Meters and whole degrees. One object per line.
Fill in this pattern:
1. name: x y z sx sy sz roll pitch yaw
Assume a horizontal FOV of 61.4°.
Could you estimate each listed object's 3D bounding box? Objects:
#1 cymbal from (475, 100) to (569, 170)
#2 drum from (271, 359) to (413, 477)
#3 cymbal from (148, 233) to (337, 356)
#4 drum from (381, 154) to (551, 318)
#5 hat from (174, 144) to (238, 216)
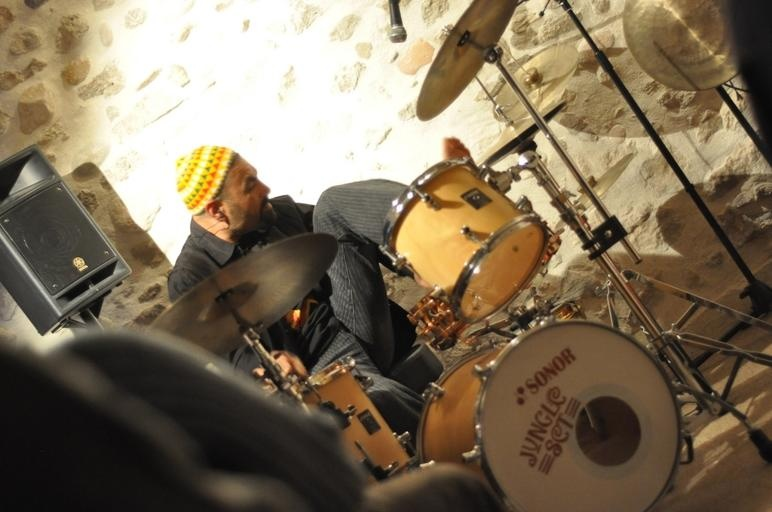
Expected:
1. cymbal: 0.619 -0.544 3.004 0.369 0.061 0.343 -34 -4 1
2. drum: -0.131 0.748 2.937 0.457 0.588 0.441 -36 -6 -4
3. cymbal: -0.529 0.169 2.667 0.682 0.422 0.517 -8 -8 8
4. drum: 0.356 -0.064 2.928 0.520 0.518 0.533 -9 -45 -45
5. hat: -0.967 -0.409 3.663 0.287 0.328 0.380 25 -15 -36
